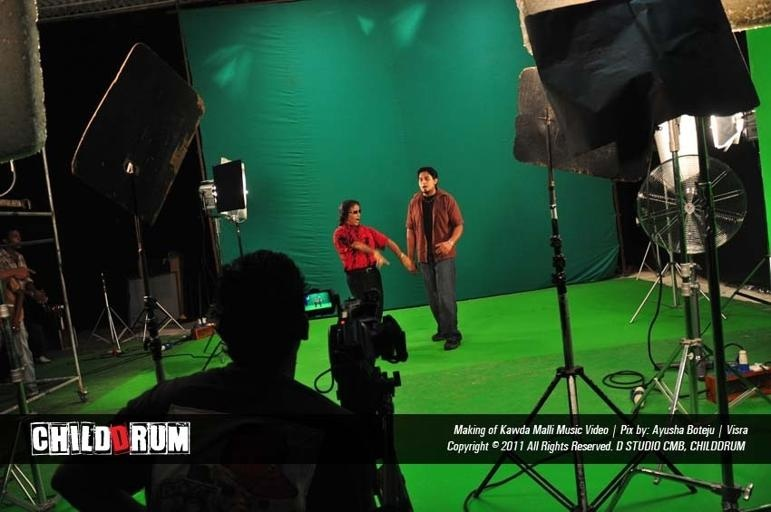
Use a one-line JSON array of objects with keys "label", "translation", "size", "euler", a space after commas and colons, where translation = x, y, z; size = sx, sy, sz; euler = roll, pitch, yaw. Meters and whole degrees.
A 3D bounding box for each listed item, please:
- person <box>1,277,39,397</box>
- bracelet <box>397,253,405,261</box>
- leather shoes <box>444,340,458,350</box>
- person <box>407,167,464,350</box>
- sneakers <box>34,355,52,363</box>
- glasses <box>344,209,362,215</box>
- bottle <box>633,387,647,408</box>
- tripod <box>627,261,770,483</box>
[{"label": "person", "translation": [-4.008, 0.914, 7.033], "size": [0.334, 1.651, 0.359], "euler": [14, -57, -39]}, {"label": "bracelet", "translation": [0.223, 0.003, 7.991], "size": [0.047, 0.066, 0.065], "euler": [12, -35, -28]}, {"label": "leather shoes", "translation": [0.784, 1.038, 7.501], "size": [0.158, 0.112, 0.233], "euler": [-9, -1, 18]}, {"label": "person", "translation": [0.607, -0.005, 7.809], "size": [0.485, 2.115, 0.724], "euler": [-7, -2, -36]}, {"label": "sneakers", "translation": [-4.834, 1.472, 9.072], "size": [0.154, 0.102, 0.095], "euler": [-3, 10, -18]}, {"label": "glasses", "translation": [-0.387, -0.541, 7.882], "size": [0.096, 0.033, 0.094], "euler": [-14, -1, 39]}, {"label": "bottle", "translation": [2.110, 1.174, 5.312], "size": [0.073, 0.187, 0.141], "euler": [2, -21, 22]}, {"label": "tripod", "translation": [2.746, 1.031, 5.589], "size": [1.291, 1.847, 1.186], "euler": [-3, 10, 25]}]
